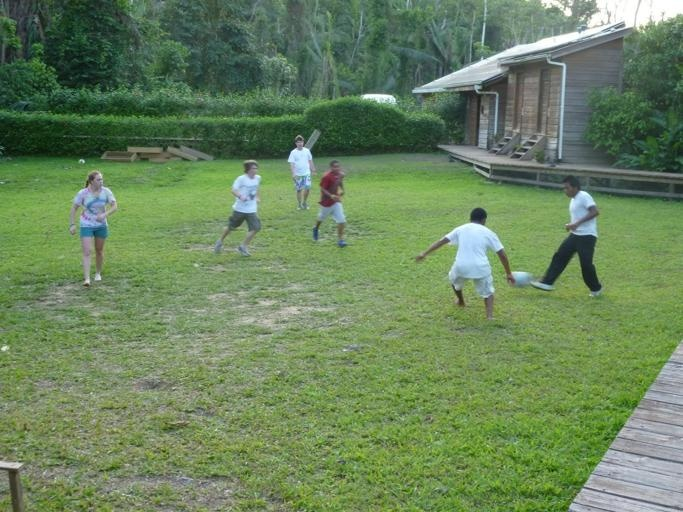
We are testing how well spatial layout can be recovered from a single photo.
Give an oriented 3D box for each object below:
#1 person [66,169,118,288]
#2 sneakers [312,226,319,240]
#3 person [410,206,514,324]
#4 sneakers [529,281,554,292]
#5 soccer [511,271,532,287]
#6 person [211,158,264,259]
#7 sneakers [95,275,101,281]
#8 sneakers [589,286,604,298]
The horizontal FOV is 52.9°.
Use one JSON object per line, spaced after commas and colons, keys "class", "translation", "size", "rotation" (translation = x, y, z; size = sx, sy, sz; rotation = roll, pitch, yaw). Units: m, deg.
{"class": "person", "translation": [-4.101, -0.483, 11.369], "size": [0.690, 1.850, 0.914], "rotation": [-4, 14, -19]}
{"class": "sneakers", "translation": [-0.520, -0.484, 14.456], "size": [0.099, 0.276, 0.197], "rotation": [-5, 14, -16]}
{"class": "person", "translation": [2.043, 0.193, 11.718], "size": [1.601, 1.745, 1.027], "rotation": [11, 41, 21]}
{"class": "sneakers", "translation": [3.277, 0.486, 11.316], "size": [0.376, 0.142, 0.147], "rotation": [12, 6, 5]}
{"class": "soccer", "translation": [2.831, 0.343, 10.913], "size": [0.284, 0.195, 0.309], "rotation": [-3, 5, -29]}
{"class": "person", "translation": [-2.061, -1.048, 13.700], "size": [0.814, 1.817, 1.484], "rotation": [-2, 14, -9]}
{"class": "sneakers", "translation": [-4.147, 0.366, 11.609], "size": [0.079, 0.123, 0.125], "rotation": [-1, -6, 4]}
{"class": "sneakers", "translation": [4.163, 0.567, 11.145], "size": [0.365, 0.131, 0.144], "rotation": [-12, 18, -42]}
